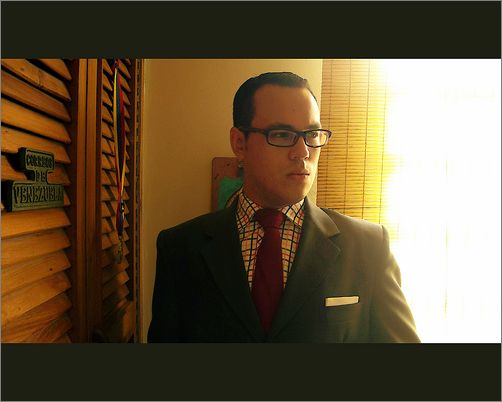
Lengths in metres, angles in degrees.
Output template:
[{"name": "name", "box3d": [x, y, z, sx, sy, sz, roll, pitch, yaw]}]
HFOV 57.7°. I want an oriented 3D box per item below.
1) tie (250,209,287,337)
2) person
[{"name": "tie", "box3d": [0.057, 0.239, 1.498, 0.099, 0.397, 0.043, 1, -14, 3]}, {"name": "person", "box3d": [0.137, 0.033, 1.566, 0.762, 0.900, 0.309, 1, -8, -2]}]
